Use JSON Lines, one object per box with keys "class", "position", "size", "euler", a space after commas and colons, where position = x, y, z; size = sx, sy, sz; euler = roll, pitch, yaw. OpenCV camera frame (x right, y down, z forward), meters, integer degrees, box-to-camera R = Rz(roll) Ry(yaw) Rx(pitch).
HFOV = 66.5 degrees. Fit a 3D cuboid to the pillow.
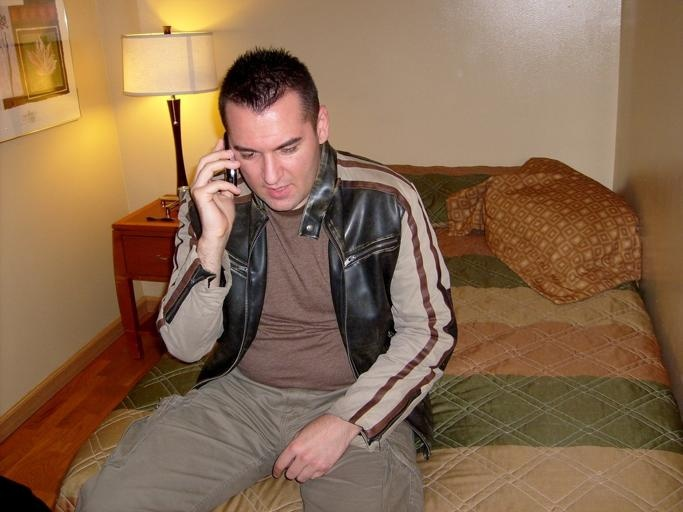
{"class": "pillow", "position": [0.940, -0.149, 2.484], "size": [0.583, 0.229, 0.750], "euler": [-18, 36, -21]}
